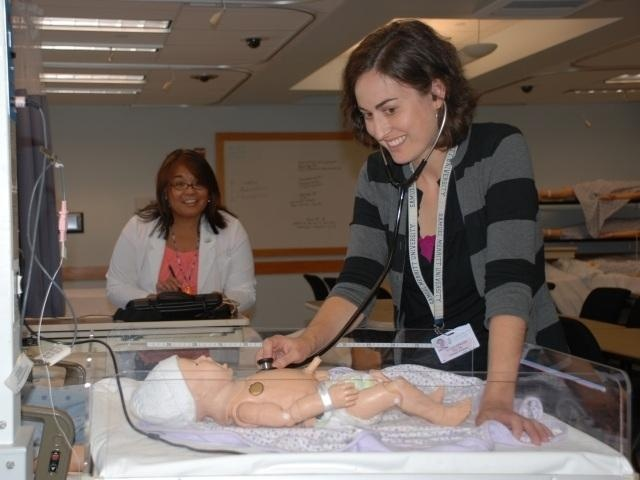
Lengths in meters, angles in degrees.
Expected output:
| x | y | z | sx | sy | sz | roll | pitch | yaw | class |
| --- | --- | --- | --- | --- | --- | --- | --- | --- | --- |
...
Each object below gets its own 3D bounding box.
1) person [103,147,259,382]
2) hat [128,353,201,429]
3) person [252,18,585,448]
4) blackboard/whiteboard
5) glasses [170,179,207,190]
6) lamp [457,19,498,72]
| x | y | z | sx | sy | sz | roll | pitch | yaw | class |
| --- | --- | --- | --- | --- | --- | --- | --- | --- | --- |
| -0.746 | 0.232 | 2.645 | 0.813 | 1.310 | 0.756 | 5 | 7 | -5 | person |
| -0.277 | 0.271 | 0.908 | 0.063 | 0.108 | 0.082 | 28 | 31 | -22 | hat |
| 0.212 | -0.069 | 1.758 | 0.941 | 1.282 | 1.076 | 2 | -2 | -43 | person |
| -0.379 | -0.508 | 5.675 | 0.064 | 1.294 | 1.966 | 6 | 9 | 43 | blackboard/whiteboard |
| -0.680 | -0.275 | 2.579 | 0.167 | 0.048 | 0.039 | 0 | 4 | -12 | glasses |
| 1.162 | -1.518 | 3.657 | 0.249 | 0.401 | 0.256 | -1 | -1 | 27 | lamp |
